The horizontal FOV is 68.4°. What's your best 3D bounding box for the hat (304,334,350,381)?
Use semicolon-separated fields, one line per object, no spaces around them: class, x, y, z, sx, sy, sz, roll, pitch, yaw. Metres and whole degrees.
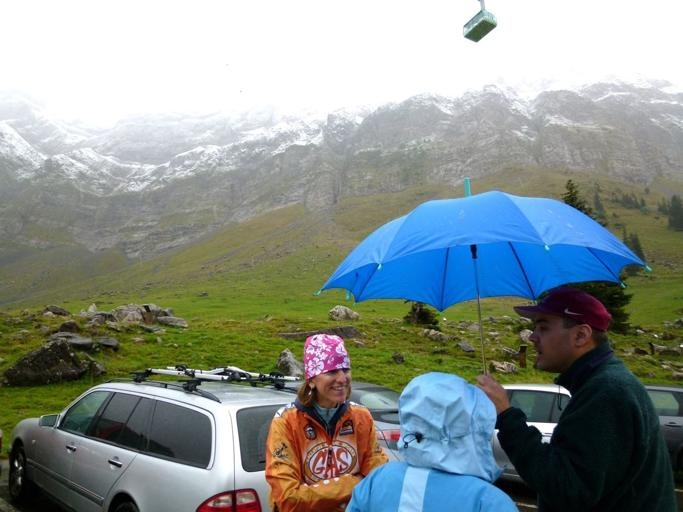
hat;-0.129;0.869;4.466;0.471;0.307;0.440;-3;-2;-24

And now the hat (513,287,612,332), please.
hat;1.741;0.395;3.956;0.631;0.203;0.403;7;-11;20
